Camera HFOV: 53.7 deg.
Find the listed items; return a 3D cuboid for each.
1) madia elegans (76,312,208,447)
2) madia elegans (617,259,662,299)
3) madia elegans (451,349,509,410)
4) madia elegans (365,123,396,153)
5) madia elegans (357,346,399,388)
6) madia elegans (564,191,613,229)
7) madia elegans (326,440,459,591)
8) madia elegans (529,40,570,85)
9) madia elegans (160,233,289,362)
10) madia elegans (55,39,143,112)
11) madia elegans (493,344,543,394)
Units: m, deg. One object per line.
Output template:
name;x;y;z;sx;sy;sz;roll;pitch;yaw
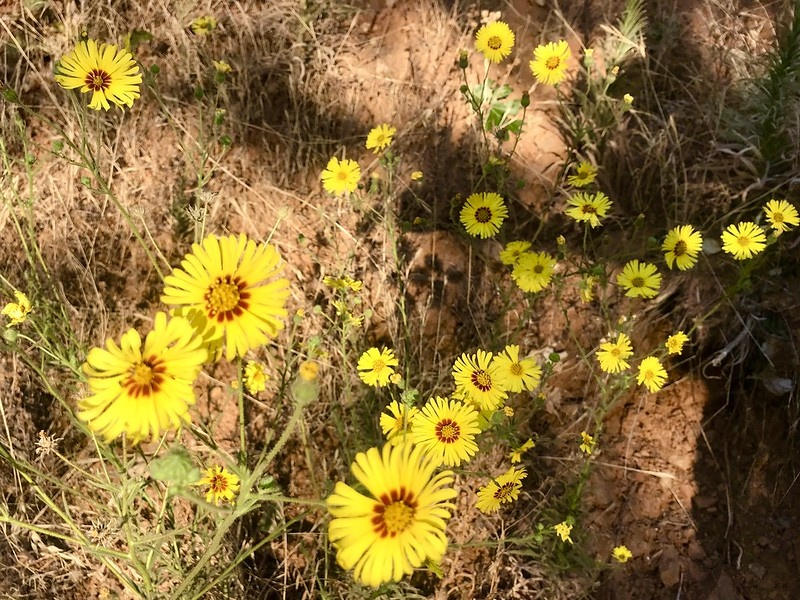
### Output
madia elegans;-1.184;0.311;3.675;0.570;0.726;0.205;20;105;5
madia elegans;1.389;-0.124;4.559;0.252;0.211;0.221;8;71;-6
madia elegans;0.442;0.444;4.384;0.265;0.099;0.333;-24;79;-16
madia elegans;-0.111;-0.979;4.867;0.167;0.057;0.225;5;84;23
madia elegans;-0.131;0.368;4.556;0.207;0.247;0.082;-5;101;-14
madia elegans;1.121;-0.506;4.705;0.228;0.108;0.276;-23;62;-2
madia elegans;0.005;0.898;3.633;0.616;0.696;0.285;9;102;25
madia elegans;0.925;-1.463;4.868;0.224;0.160;0.257;30;71;1
madia elegans;-0.848;-0.056;3.756;0.617;0.629;0.197;-22;121;-32
madia elegans;-1.629;-1.148;4.337;0.378;0.134;0.495;13;71;-10
madia elegans;0.659;0.380;4.469;0.276;0.324;0.095;-4;92;9
